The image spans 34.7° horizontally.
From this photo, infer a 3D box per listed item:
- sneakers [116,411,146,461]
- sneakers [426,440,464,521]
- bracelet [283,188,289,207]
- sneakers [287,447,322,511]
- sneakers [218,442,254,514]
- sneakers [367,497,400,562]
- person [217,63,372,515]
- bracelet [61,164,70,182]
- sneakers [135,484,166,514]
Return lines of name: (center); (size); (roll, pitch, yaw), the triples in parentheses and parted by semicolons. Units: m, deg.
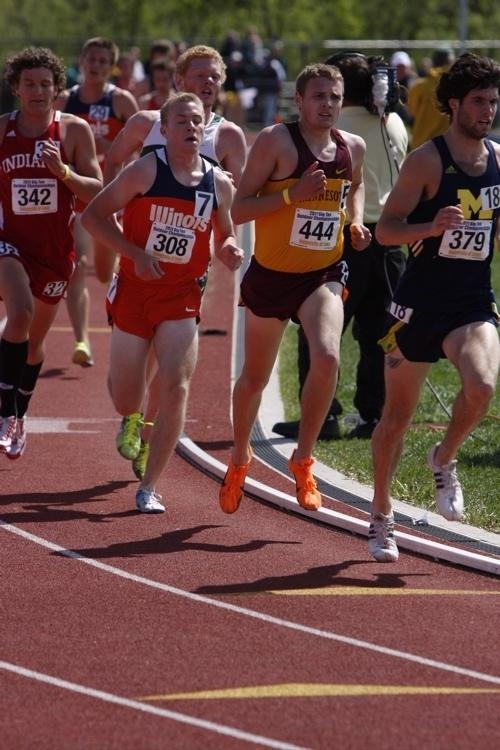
sneakers: (-0.627, 0.324, 4.165); (0.105, 0.130, 0.285); (8, 50, -14)
sneakers: (0.854, 0.435, 3.383); (0.125, 0.352, 0.141); (-7, -29, -7)
bracelet: (0.150, -0.741, 3.332); (0.021, 0.051, 0.045); (-7, 17, 0)
sneakers: (0.231, 0.453, 3.601); (0.107, 0.141, 0.295); (-8, 57, -28)
sneakers: (-0.070, 0.479, 3.823); (0.120, 0.354, 0.145); (12, -11, 9)
sneakers: (0.536, 0.663, 3.240); (0.092, 0.104, 0.252); (-2, 13, 0)
person: (0.199, -0.321, 3.607); (0.627, 2.115, 0.678); (4, 5, 8)
bracelet: (-0.956, -1.033, 4.068); (0.031, 0.070, 0.055); (4, 12, -22)
sneakers: (-0.474, 0.592, 3.757); (0.087, 0.094, 0.218); (3, -7, -23)
